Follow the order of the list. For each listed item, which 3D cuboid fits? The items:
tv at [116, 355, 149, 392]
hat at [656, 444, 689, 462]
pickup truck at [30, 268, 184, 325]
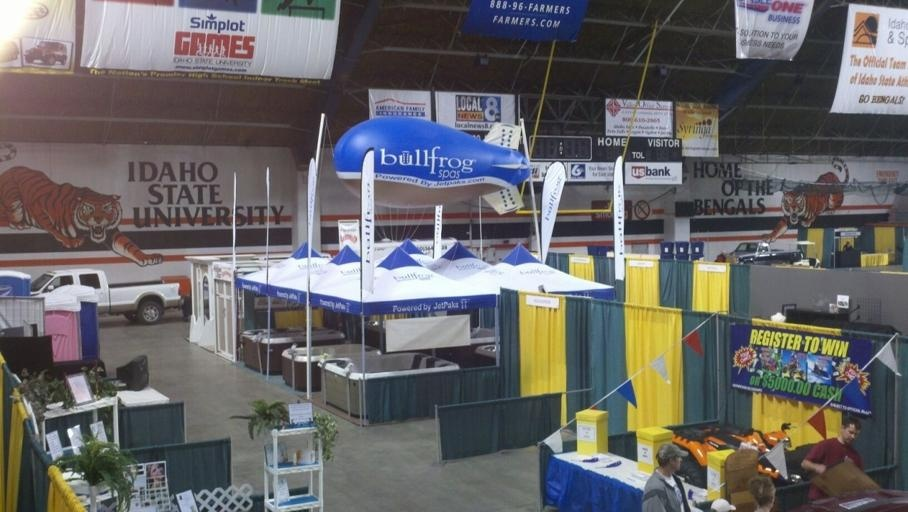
[{"bbox_3d":[-9.459,3.375,31.006,0.940,0.985,0.970,-8,9,-42],"label":"tv"},{"bbox_3d":[5.573,4.994,26.257,0.860,0.393,0.548,-3,3,-16],"label":"hat"},{"bbox_3d":[-13.935,1.504,42.200,4.618,1.610,2.526,2,-2,-32],"label":"pickup truck"}]
